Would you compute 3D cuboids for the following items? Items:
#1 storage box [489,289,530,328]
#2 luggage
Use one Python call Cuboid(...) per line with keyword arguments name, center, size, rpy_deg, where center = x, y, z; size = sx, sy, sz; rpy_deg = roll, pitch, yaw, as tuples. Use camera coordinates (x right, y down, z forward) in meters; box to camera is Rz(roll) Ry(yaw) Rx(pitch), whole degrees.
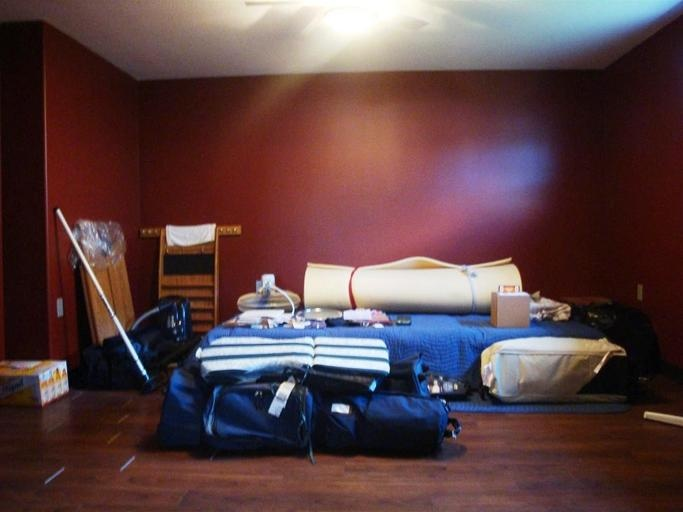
Cuboid(name="storage box", center=(1.431, 0.434, 4.973), size=(0.265, 0.286, 0.282), rpy_deg=(0, -3, 2))
Cuboid(name="luggage", center=(1.632, 0.877, 4.599), size=(0.877, 0.358, 0.535), rpy_deg=(-2, 4, 1))
